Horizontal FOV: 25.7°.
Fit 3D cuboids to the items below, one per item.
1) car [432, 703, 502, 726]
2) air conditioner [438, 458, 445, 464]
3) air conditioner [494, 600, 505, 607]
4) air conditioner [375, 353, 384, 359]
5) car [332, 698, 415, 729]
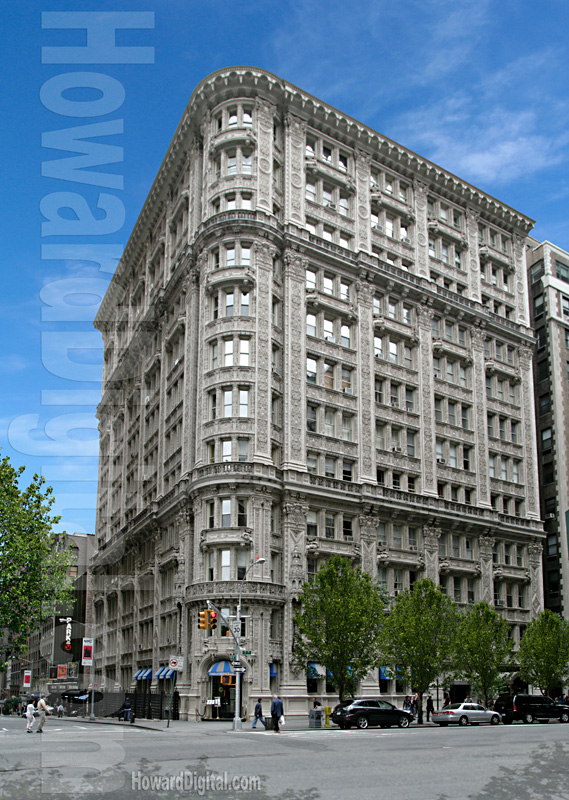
[{"bbox_3d":[9.095,15.543,61.097,2.970,0.885,1.297,1,-12,-18],"label":"car"},{"bbox_3d":[10.459,4.058,83.682,0.396,0.477,0.723,-7,-12,29],"label":"air conditioner"},{"bbox_3d":[14.612,13.967,84.859,0.815,0.502,0.448,13,-30,-30],"label":"air conditioner"},{"bbox_3d":[6.121,-2.865,81.366,0.361,0.316,0.187,18,-32,-40],"label":"air conditioner"},{"bbox_3d":[3.877,14.258,56.334,4.079,1.404,1.403,13,-21,-36],"label":"car"}]
